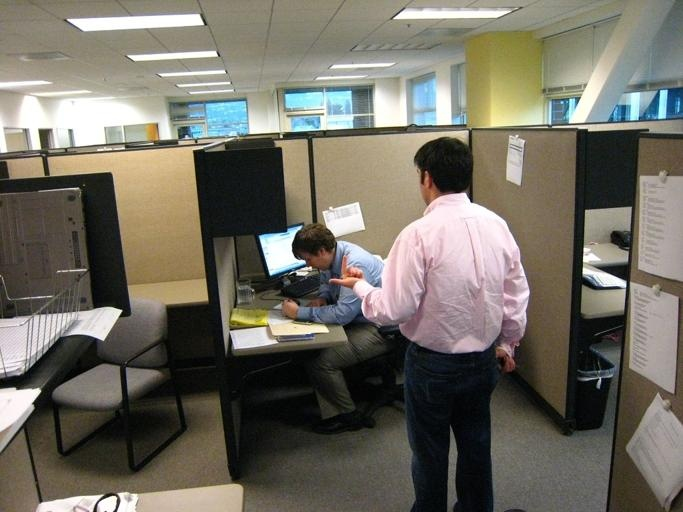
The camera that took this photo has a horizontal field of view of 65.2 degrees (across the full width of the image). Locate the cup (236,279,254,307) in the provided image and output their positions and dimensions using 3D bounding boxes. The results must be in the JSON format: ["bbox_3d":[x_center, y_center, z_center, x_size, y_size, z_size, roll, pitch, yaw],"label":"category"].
[{"bbox_3d":[-0.574,0.228,3.199,0.083,0.146,0.144,0,5,13],"label":"cup"}]

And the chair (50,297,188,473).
[{"bbox_3d":[-1.258,0.695,3.025,0.676,0.803,0.687,-3,8,-12],"label":"chair"}]

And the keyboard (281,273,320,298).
[{"bbox_3d":[-0.237,0.190,3.312,0.130,0.045,0.190,6,19,23],"label":"keyboard"}]

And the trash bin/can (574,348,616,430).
[{"bbox_3d":[1.408,0.713,2.962,0.175,0.467,0.250,3,16,29],"label":"trash bin/can"}]

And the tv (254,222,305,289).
[{"bbox_3d":[-0.369,-0.003,3.284,0.126,0.361,0.358,0,14,37],"label":"tv"}]

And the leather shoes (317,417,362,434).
[{"bbox_3d":[-0.015,0.965,3.097,0.260,0.111,0.097,2,4,-7],"label":"leather shoes"}]
